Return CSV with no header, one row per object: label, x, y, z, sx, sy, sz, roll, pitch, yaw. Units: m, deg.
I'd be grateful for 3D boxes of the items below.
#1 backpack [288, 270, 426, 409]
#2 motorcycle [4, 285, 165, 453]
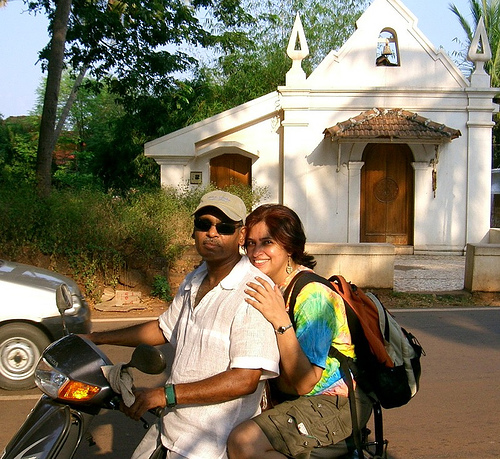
backpack,0.579,0.620,3.332,0.778,0.727,0.488,-8,6,3
motorcycle,-0.767,0.770,2.722,0.719,0.542,0.431,0,5,-2
